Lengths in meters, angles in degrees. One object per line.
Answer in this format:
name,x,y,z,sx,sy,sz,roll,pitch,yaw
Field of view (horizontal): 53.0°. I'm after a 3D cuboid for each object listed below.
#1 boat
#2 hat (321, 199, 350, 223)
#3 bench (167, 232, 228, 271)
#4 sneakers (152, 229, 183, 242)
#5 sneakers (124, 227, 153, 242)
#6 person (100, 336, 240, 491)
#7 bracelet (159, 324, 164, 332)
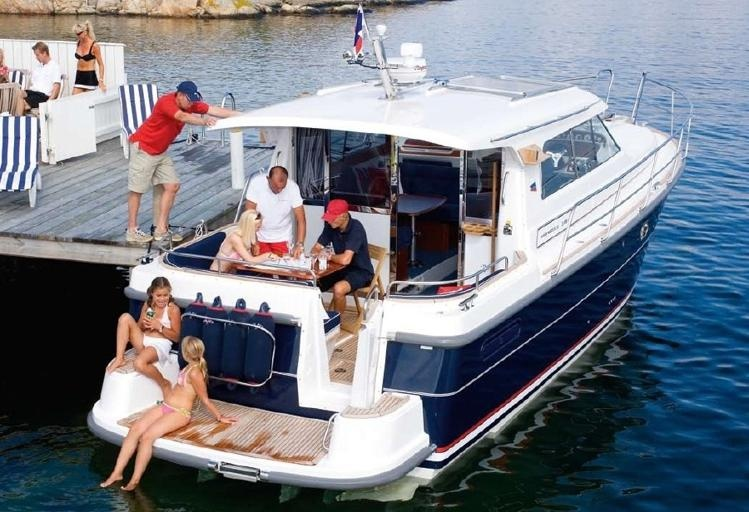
boat,0.570,-0.493,9.425,4.098,3.061,8.604,16,29,35
hat,-0.401,-0.482,8.084,0.348,0.150,0.239,-28,40,-36
bench,-1.924,-0.049,8.251,0.652,0.195,0.389,-30,46,-24
sneakers,-2.645,-0.244,9.534,0.542,0.158,0.171,-2,35,-4
sneakers,-3.057,-0.262,9.759,0.454,0.150,0.151,2,26,0
person,-2.032,1.527,7.203,1.176,1.416,0.483,-15,26,-26
bracelet,-2.139,0.734,7.541,0.065,0.058,0.027,0,2,11
